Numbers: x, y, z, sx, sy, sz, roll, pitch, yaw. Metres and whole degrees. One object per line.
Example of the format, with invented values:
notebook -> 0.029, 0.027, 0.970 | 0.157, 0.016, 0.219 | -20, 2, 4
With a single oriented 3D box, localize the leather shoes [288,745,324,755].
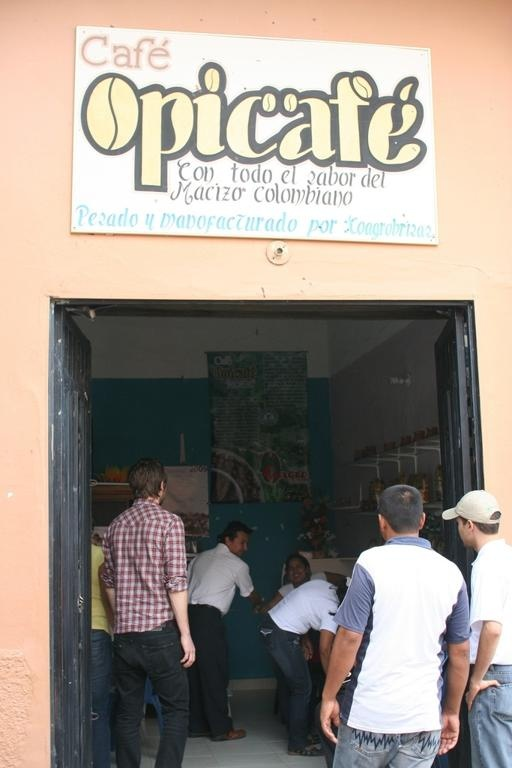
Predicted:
leather shoes -> 0.302, 2.170, 4.902 | 0.186, 0.073, 0.067 | -2, -5, 1

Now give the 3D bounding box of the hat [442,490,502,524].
hat -> 0.848, 0.472, 3.229 | 0.124, 0.107, 0.195 | 3, 1, -41
